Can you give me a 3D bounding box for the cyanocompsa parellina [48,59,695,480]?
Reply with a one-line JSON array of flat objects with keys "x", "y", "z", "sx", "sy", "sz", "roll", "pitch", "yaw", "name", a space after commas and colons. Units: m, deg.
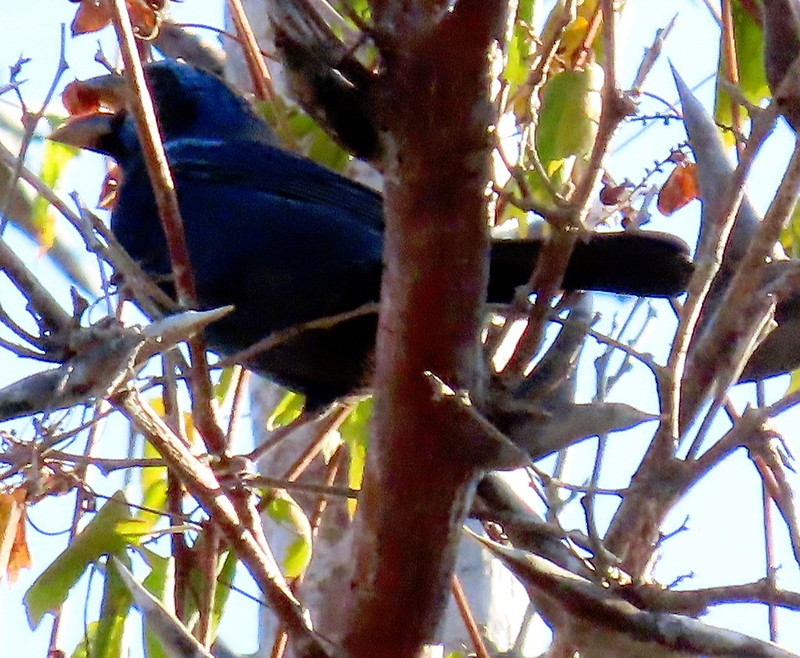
[{"x": -0.068, "y": -0.081, "z": 1.609, "sx": 0.537, "sy": 0.405, "sz": 0.193, "roll": 4, "pitch": -41, "yaw": -1, "name": "cyanocompsa parellina"}]
